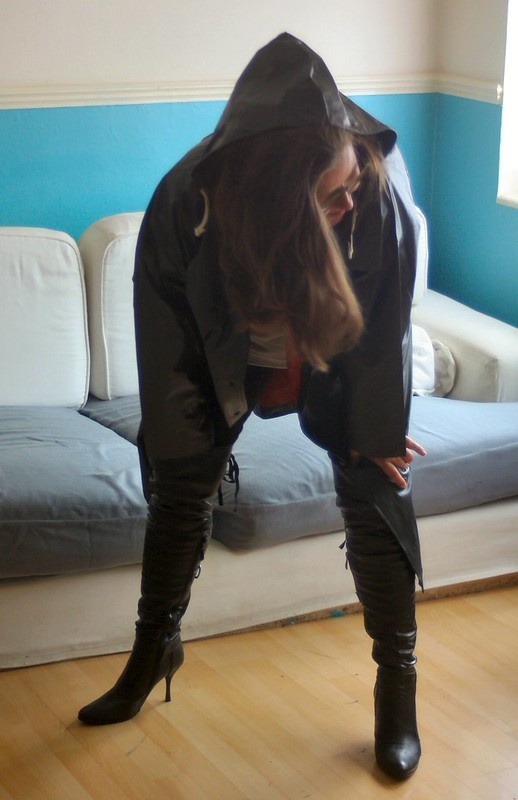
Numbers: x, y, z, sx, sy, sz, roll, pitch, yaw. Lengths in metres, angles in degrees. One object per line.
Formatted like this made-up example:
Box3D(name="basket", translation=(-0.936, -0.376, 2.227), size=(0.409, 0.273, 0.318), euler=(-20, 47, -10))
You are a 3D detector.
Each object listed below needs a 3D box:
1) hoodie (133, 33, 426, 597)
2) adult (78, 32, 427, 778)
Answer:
Box3D(name="hoodie", translation=(0.035, -0.077, 0.990), size=(0.365, 0.781, 0.202), euler=(1, -7, 2))
Box3D(name="adult", translation=(-0.004, -0.005, 1.015), size=(0.417, 0.918, 0.343), euler=(10, 26, 10))
